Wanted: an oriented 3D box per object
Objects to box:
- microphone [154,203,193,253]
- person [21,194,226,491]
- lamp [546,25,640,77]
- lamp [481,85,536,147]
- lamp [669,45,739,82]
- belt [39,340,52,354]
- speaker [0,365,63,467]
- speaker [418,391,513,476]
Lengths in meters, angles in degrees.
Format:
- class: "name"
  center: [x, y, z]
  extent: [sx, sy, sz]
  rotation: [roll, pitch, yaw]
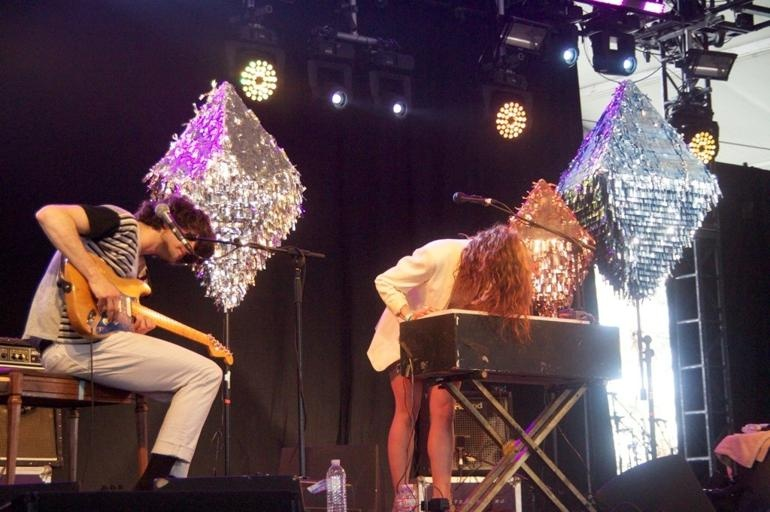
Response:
- class: "microphone"
  center: [-1.538, -0.205, 7.769]
  extent: [0.098, 0.373, 0.098]
  rotation: [-38, -6, 3]
- class: "person"
  center: [-1.859, 0.566, 7.666]
  extent: [1.379, 2.095, 0.568]
  rotation: [5, -9, -13]
- class: "lamp"
  center: [2.080, -2.052, 10.869]
  extent: [0.505, 0.576, 0.897]
  rotation: [2, -1, -35]
- class: "lamp"
  center: [1.245, -1.415, 10.789]
  extent: [0.472, 0.539, 0.184]
  rotation: [-2, 1, -7]
- class: "lamp"
  center: [3.304, -1.957, 10.972]
  extent: [0.598, 0.278, 0.234]
  rotation: [3, -9, -2]
- class: "belt"
  center: [-2.443, 0.643, 7.665]
  extent: [0.136, 0.088, 0.061]
  rotation: [-6, -12, 39]
- class: "speaker"
  center: [-2.657, 1.173, 7.973]
  extent: [0.372, 0.670, 0.681]
  rotation: [-13, -18, 38]
- class: "speaker"
  center: [0.671, 1.385, 9.327]
  extent: [0.855, 0.923, 0.647]
  rotation: [1, -3, 0]
